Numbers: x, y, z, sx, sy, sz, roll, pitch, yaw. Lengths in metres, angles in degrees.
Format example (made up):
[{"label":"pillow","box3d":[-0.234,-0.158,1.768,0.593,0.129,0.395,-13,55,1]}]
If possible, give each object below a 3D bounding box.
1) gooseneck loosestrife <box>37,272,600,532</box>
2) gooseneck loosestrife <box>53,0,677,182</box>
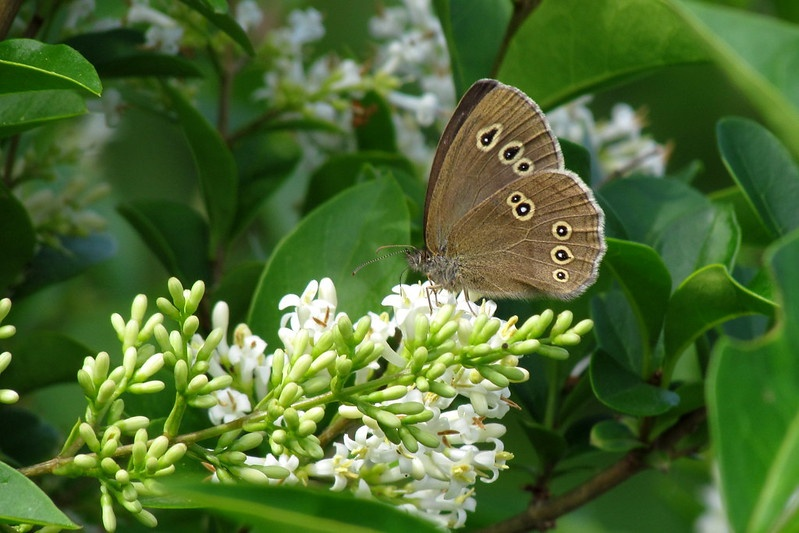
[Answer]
[{"label":"gooseneck loosestrife","box3d":[-0.216,0.387,2.511,1.325,0.853,0.710,15,7,5]},{"label":"gooseneck loosestrife","box3d":[0.051,-0.694,3.504,1.245,0.235,2.205,21,10,41]}]
